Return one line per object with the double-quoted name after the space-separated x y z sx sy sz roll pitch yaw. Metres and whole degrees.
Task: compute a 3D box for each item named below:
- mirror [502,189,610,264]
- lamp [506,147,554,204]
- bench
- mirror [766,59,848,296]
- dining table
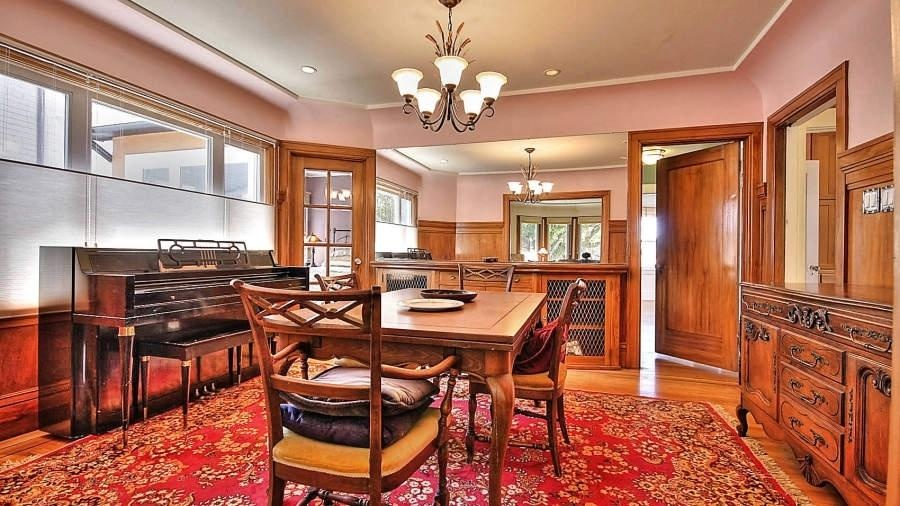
1.710 -0.471 8.615 1.279 0.988 0.392 -2 -7 22 "mirror"
1.217 -1.119 7.846 0.766 0.885 0.656 3 -2 -1 "lamp"
-2.571 1.148 5.314 0.621 0.579 1.106 0 0 8 "bench"
3.731 -0.749 5.521 0.415 1.951 1.108 -3 0 -1 "mirror"
-0.270 1.326 4.381 1.788 1.002 2.354 0 -1 13 "dining table"
